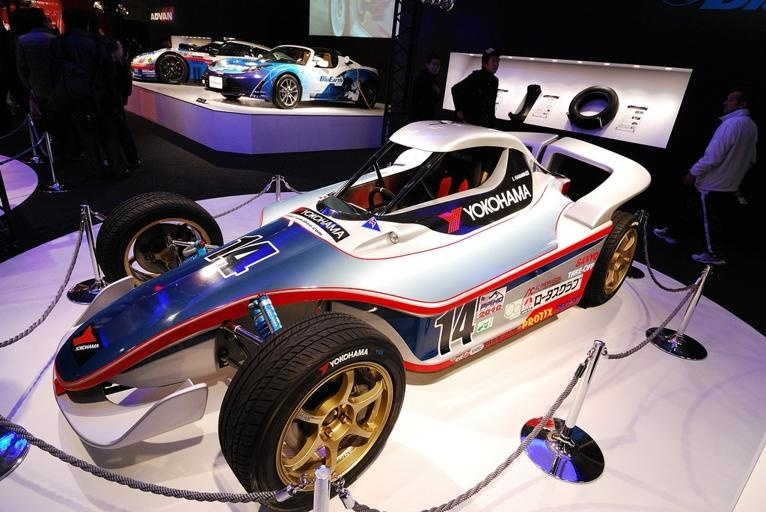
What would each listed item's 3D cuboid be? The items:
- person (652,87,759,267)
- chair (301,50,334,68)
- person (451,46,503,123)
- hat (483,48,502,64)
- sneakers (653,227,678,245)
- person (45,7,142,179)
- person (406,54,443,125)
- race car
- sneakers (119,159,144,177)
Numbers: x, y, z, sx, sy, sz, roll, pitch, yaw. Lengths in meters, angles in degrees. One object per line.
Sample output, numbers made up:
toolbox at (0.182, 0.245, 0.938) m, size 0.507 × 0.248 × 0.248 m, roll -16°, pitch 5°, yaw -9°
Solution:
person at (4.211, -1.024, 6.446) m, size 0.845 × 2.009 × 1.201 m, roll 22°, pitch 36°, yaw 26°
chair at (-1.251, -3.873, 10.129) m, size 0.518 × 0.169 × 0.322 m, roll -15°, pitch 61°, yaw -39°
person at (1.418, -2.530, 7.692) m, size 0.723 × 1.100 × 0.421 m, roll 6°, pitch 32°, yaw 3°
hat at (1.579, -2.939, 7.504) m, size 0.211 × 0.185 × 0.313 m, roll 8°, pitch 33°, yaw 5°
sneakers at (3.894, -0.276, 7.047) m, size 0.179 × 0.118 × 0.310 m, roll -2°, pitch 28°, yaw -2°
person at (-4.180, -2.343, 6.991) m, size 0.796 × 2.271 × 0.665 m, roll -18°, pitch 64°, yaw -41°
person at (0.762, -2.890, 8.775) m, size 0.463 × 1.114 × 0.328 m, roll 4°, pitch 32°, yaw 0°
race car at (0.049, 0.182, 4.238) m, size 4.467 × 1.486 × 2.578 m, roll -18°, pitch 39°, yaw -32°
sneakers at (-3.786, -1.302, 7.721) m, size 0.143 × 0.112 × 0.388 m, roll 44°, pitch 28°, yaw -17°
